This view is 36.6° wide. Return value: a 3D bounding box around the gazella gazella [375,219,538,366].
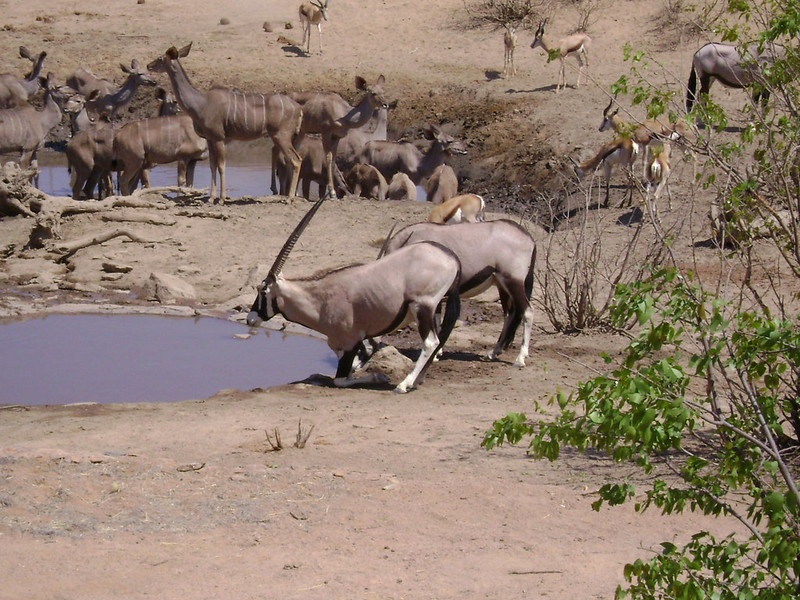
[{"bbox_3d":[0.441,-0.105,12.771,2.020,1.446,0.531,1,2,-6],"label":"gazella gazella"}]
